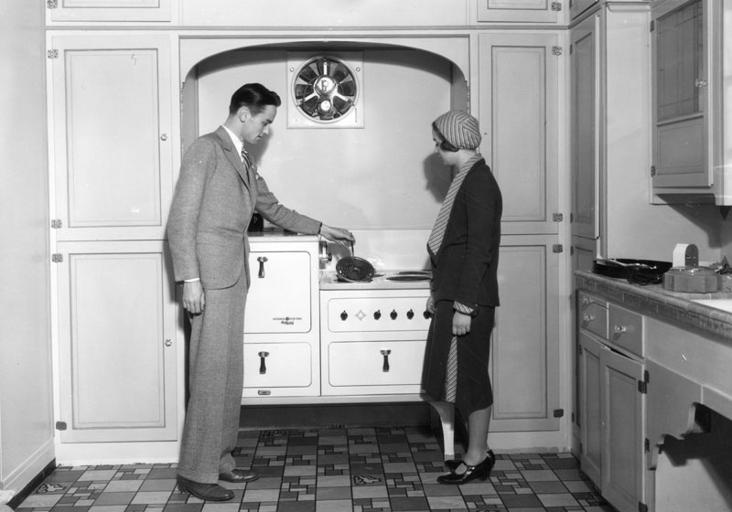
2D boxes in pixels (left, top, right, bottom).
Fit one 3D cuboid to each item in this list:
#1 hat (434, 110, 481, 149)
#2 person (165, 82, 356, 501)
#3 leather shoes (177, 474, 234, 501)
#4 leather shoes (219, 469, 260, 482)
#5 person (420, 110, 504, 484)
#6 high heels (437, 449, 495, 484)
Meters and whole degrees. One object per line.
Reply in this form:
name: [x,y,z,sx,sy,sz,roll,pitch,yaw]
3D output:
hat: [0.525,-0.727,3.875,0.243,0.163,0.185,19,0,-38]
person: [-0.757,0.177,3.973,0.448,2.276,0.930,7,15,33]
leather shoes: [-0.894,1.312,3.882,0.359,0.156,0.129,2,1,7]
leather shoes: [-0.749,1.293,4.018,0.176,0.054,0.094,0,4,-4]
person: [0.551,0.252,3.956,0.462,2.118,0.494,-3,12,-11]
high heels: [0.604,1.260,4.058,0.436,0.201,0.148,1,-1,-11]
